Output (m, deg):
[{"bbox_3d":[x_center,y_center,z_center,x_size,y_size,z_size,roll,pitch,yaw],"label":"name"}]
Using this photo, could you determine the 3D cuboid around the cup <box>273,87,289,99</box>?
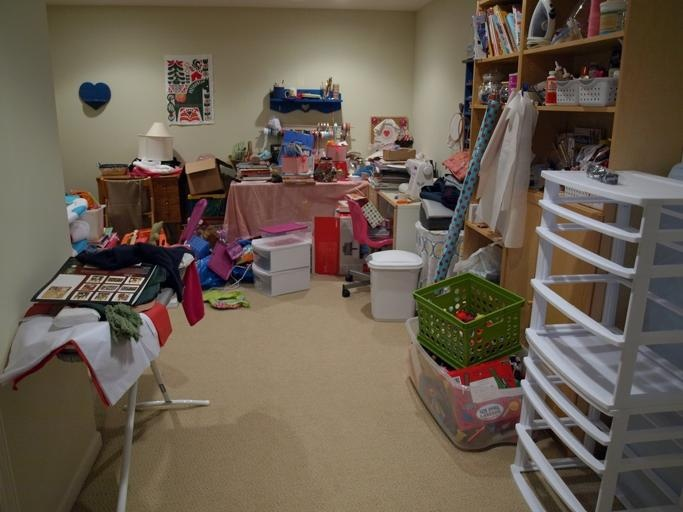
[{"bbox_3d":[-0.778,-2.097,6.292,0.165,0.137,0.139,3,19,-5],"label":"cup"}]

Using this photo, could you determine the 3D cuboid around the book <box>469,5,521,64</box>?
[{"bbox_3d":[1.057,-1.529,3.371,0.119,0.444,0.282,-9,12,-42],"label":"book"}]

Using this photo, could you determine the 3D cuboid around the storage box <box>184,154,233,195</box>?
[{"bbox_3d":[-1.696,-0.975,6.199,0.483,0.426,0.565,-4,2,-27],"label":"storage box"}]

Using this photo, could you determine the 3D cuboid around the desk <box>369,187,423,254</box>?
[{"bbox_3d":[0.539,-0.408,4.975,0.266,0.474,1.087,-3,20,-8],"label":"desk"}]

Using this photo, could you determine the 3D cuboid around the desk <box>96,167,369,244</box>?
[{"bbox_3d":[-1.217,-0.497,5.796,3.003,0.776,0.583,4,19,11],"label":"desk"}]

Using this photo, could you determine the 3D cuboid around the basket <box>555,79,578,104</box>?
[{"bbox_3d":[1.217,-0.891,2.691,0.114,0.133,0.165,-2,16,3],"label":"basket"}]

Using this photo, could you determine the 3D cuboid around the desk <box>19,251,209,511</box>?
[{"bbox_3d":[-1.105,0.624,2.461,0.516,1.119,1.031,7,20,22],"label":"desk"}]

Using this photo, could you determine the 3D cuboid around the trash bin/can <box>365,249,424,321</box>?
[{"bbox_3d":[0.387,0.211,4.321,0.479,0.670,0.527,0,16,1],"label":"trash bin/can"}]

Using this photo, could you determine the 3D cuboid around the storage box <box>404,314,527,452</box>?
[{"bbox_3d":[0.684,0.760,2.980,0.407,0.316,0.600,-3,15,-11],"label":"storage box"}]

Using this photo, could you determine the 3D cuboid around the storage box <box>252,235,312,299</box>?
[{"bbox_3d":[-0.556,0.064,4.901,0.588,0.656,0.429,-7,18,-29],"label":"storage box"}]

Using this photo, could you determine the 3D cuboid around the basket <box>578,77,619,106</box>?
[{"bbox_3d":[1.276,-0.834,2.483,0.116,0.118,0.162,-5,21,-14],"label":"basket"}]

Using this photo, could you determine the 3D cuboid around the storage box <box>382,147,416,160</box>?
[{"bbox_3d":[0.609,-1.088,5.249,0.330,0.119,0.207,1,20,4],"label":"storage box"}]
